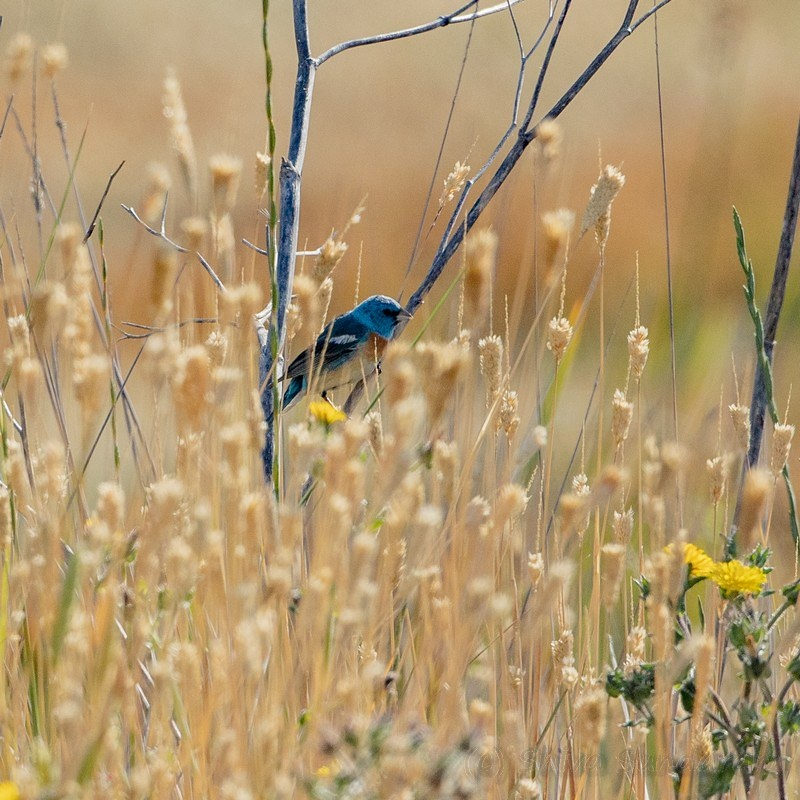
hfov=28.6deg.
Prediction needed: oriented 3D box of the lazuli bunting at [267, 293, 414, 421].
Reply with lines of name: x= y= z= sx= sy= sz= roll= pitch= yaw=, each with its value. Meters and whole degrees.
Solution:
lazuli bunting: x=-0.274 y=-0.210 z=6.867 sx=0.620 sy=0.775 sz=0.340 roll=-7 pitch=7 yaw=-17

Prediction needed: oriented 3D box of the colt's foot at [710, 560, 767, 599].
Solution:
colt's foot: x=0.907 y=0.452 z=4.188 sx=0.091 sy=0.090 sz=0.109 roll=14 pitch=25 yaw=26
